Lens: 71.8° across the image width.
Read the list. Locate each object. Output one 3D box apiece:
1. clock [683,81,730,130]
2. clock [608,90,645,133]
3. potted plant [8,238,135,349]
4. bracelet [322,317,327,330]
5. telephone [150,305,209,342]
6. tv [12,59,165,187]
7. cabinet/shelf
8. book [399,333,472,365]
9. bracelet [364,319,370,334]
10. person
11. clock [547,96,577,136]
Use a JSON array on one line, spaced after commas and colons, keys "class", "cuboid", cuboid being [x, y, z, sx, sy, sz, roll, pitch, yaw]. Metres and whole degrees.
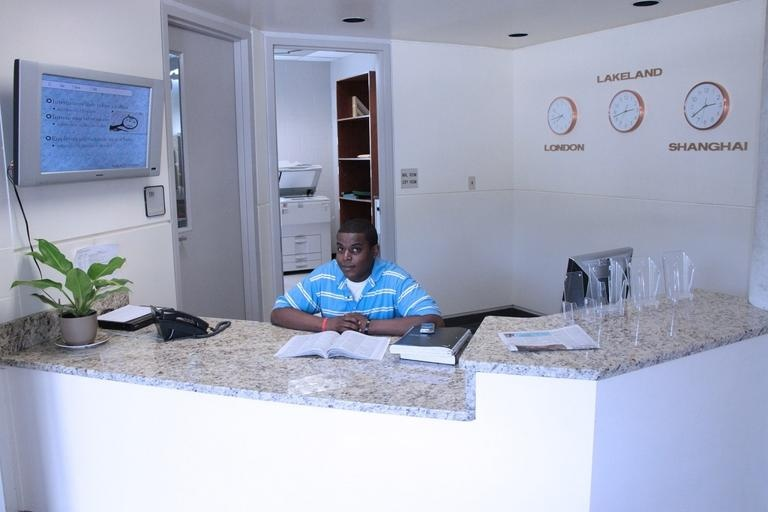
[{"class": "clock", "cuboid": [2.447, -1.147, 4.046, 0.063, 0.366, 0.314, -6, 9, -24]}, {"class": "clock", "cuboid": [2.079, -1.247, 4.583, 0.067, 0.357, 0.313, -6, 9, -25]}, {"class": "potted plant", "cuboid": [-1.460, 0.154, 2.559, 0.538, 0.420, 0.516, 2, 4, 21]}, {"class": "bracelet", "cuboid": [-0.290, 0.341, 2.638, 0.028, 0.050, 0.085, -2, 8, -5]}, {"class": "telephone", "cuboid": [-0.965, 0.324, 2.561, 0.211, 0.096, 0.164, 1, 1, -29]}, {"class": "tv", "cuboid": [-1.503, -0.676, 2.679, 0.085, 0.467, 0.795, 13, 15, 32]}, {"class": "cabinet/shelf", "cuboid": [-0.372, -1.395, 7.003, 0.495, 1.969, 1.281, -3, 9, -5]}, {"class": "book", "cuboid": [0.204, 0.389, 2.327, 0.311, 0.095, 0.237, 0, 8, 13]}, {"class": "bracelet", "cuboid": [-0.082, 0.350, 2.600, 0.014, 0.050, 0.054, 8, -14, 6]}, {"class": "person", "cuboid": [-0.142, 0.181, 2.820, 0.914, 0.618, 0.549, 3, 21, 11]}, {"class": "clock", "cuboid": [1.702, -1.343, 5.100, 0.056, 0.362, 0.313, -7, 10, -30]}]
